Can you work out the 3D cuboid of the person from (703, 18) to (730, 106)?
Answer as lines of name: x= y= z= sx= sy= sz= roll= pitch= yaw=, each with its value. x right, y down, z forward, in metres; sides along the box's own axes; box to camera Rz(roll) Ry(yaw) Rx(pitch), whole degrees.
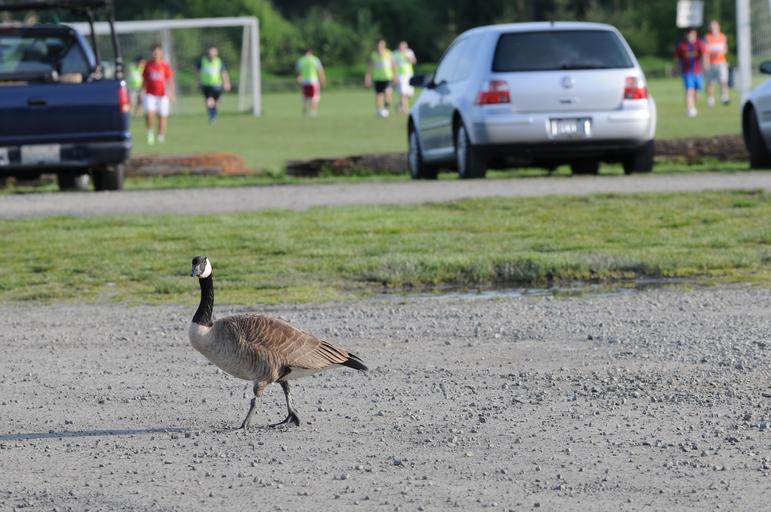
person: x=7.092 y=-4.219 z=44.202 sx=0.640 sy=2.432 sz=0.679 roll=1 pitch=-2 yaw=3

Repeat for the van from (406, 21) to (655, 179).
van: x=2.439 y=-2.824 z=37.476 sx=3.419 sy=2.845 sz=6.372 roll=-2 pitch=4 yaw=-8

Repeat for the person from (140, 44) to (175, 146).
person: x=-4.789 y=-3.387 z=42.897 sx=0.656 sy=2.070 sz=0.563 roll=1 pitch=7 yaw=-9

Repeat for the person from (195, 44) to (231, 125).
person: x=-3.823 y=-4.083 z=47.345 sx=0.757 sy=1.911 sz=0.981 roll=4 pitch=-8 yaw=-17
